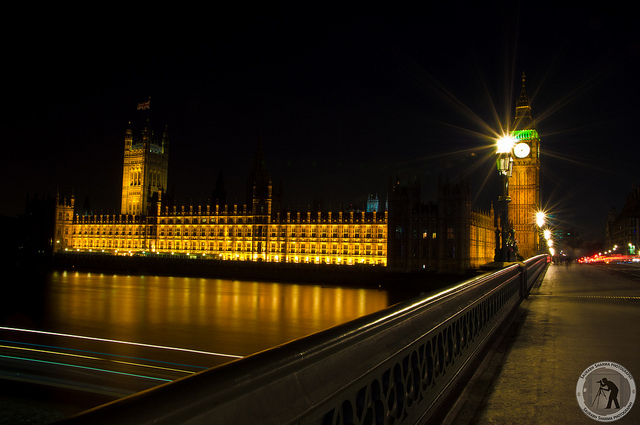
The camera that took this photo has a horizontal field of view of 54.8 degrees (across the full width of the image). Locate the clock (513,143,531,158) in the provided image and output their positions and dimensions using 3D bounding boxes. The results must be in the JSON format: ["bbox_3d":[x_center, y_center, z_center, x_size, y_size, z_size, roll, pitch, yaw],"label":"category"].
[{"bbox_3d":[6.617,-2.044,20.217,0.510,0.521,0.578,-7,-5,17],"label":"clock"}]
